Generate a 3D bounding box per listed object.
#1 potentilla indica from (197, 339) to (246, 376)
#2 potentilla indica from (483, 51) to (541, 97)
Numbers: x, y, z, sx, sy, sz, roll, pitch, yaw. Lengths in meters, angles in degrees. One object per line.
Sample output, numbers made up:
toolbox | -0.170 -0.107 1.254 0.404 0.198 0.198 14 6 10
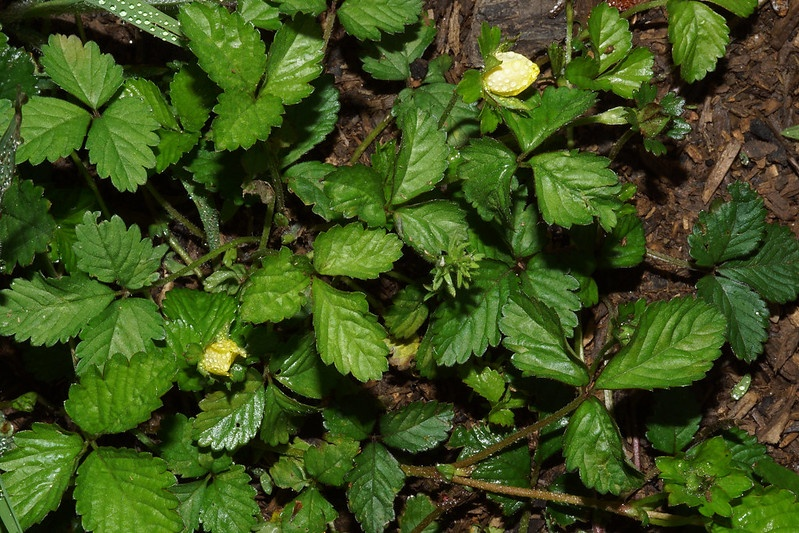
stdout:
potentilla indica | -0.798 0.402 3.243 0.205 0.131 0.115 -12 40 -19
potentilla indica | 0.523 -0.847 3.228 0.196 0.178 0.271 22 6 -14
